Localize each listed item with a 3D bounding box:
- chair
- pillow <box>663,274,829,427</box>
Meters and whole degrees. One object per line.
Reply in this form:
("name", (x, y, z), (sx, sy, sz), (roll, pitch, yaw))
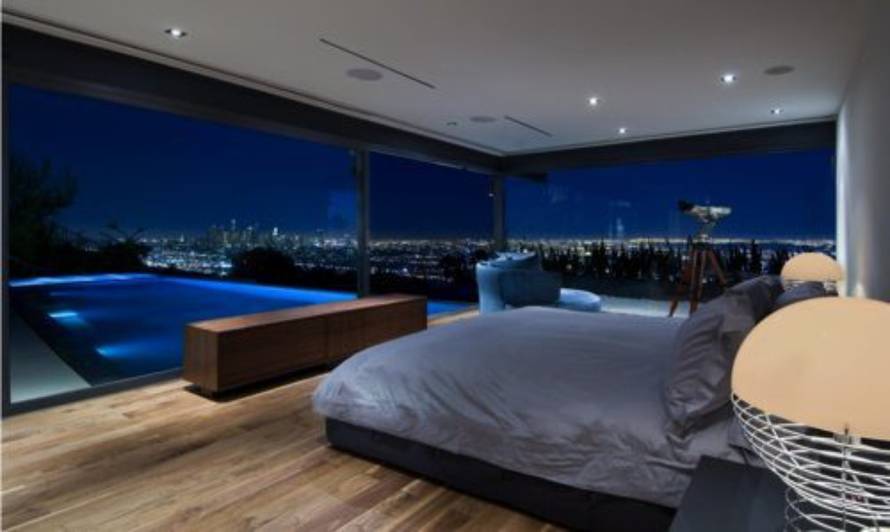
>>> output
("chair", (1.138, 0.263, 6.421), (1.168, 0.662, 1.109), (-3, 0, -9))
("pillow", (2.043, 0.593, 2.980), (0.327, 0.924, 1.090), (33, 43, 17))
